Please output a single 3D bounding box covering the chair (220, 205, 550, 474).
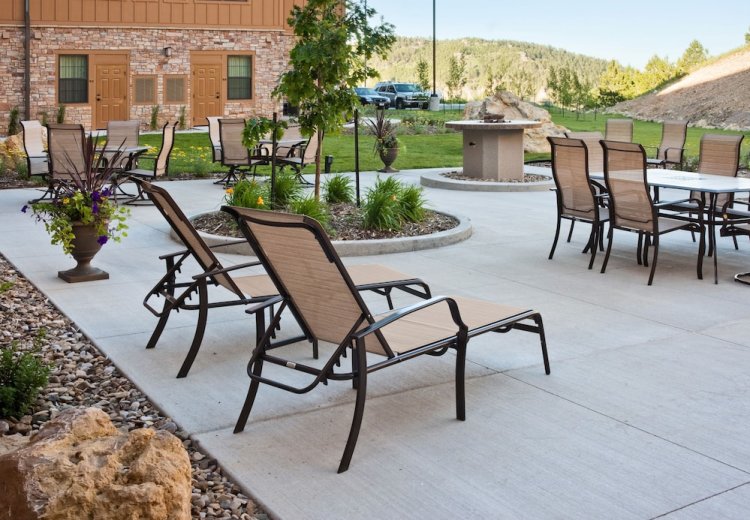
[{"bbox_3d":[-0.020,0.323,3.534,1.753,1.348,1.080,-11,17,-39],"label":"chair"}]

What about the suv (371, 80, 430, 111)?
[{"bbox_3d":[2.239,-12.248,41.784,2.608,1.555,4.501,-5,9,-35],"label":"suv"}]

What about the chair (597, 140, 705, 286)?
[{"bbox_3d":[3.377,-0.629,6.778,1.822,1.587,1.133,-13,18,-42],"label":"chair"}]
